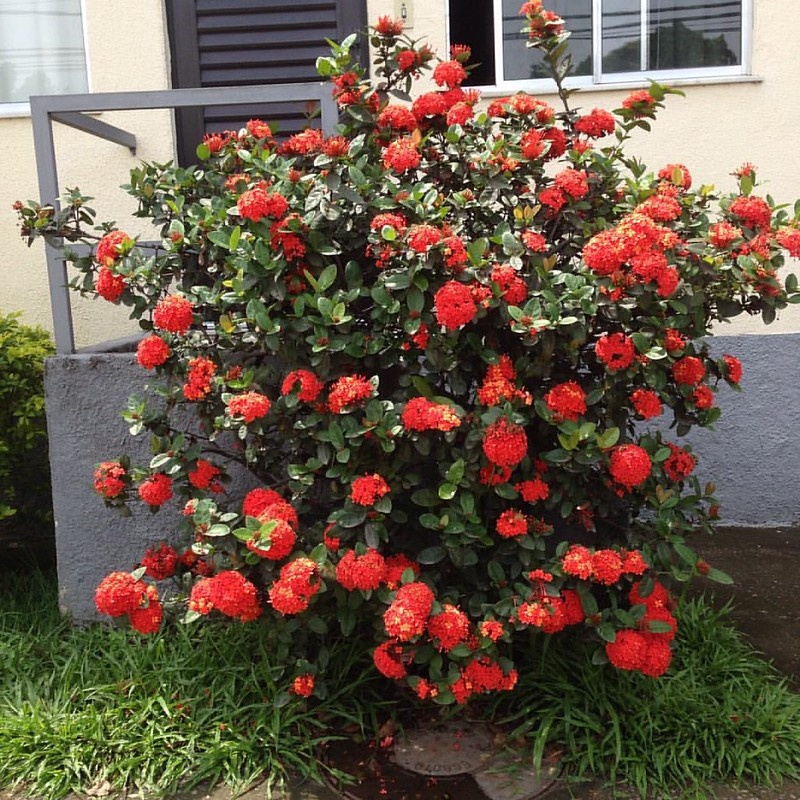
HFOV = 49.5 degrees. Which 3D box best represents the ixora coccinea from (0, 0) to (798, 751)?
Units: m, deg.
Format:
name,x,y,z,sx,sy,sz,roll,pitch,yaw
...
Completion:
name,x,y,z,sx,sy,sz,roll,pitch,yaw
ixora coccinea,0.050,-0.142,3.248,2.508,2.676,1.537,4,16,17
